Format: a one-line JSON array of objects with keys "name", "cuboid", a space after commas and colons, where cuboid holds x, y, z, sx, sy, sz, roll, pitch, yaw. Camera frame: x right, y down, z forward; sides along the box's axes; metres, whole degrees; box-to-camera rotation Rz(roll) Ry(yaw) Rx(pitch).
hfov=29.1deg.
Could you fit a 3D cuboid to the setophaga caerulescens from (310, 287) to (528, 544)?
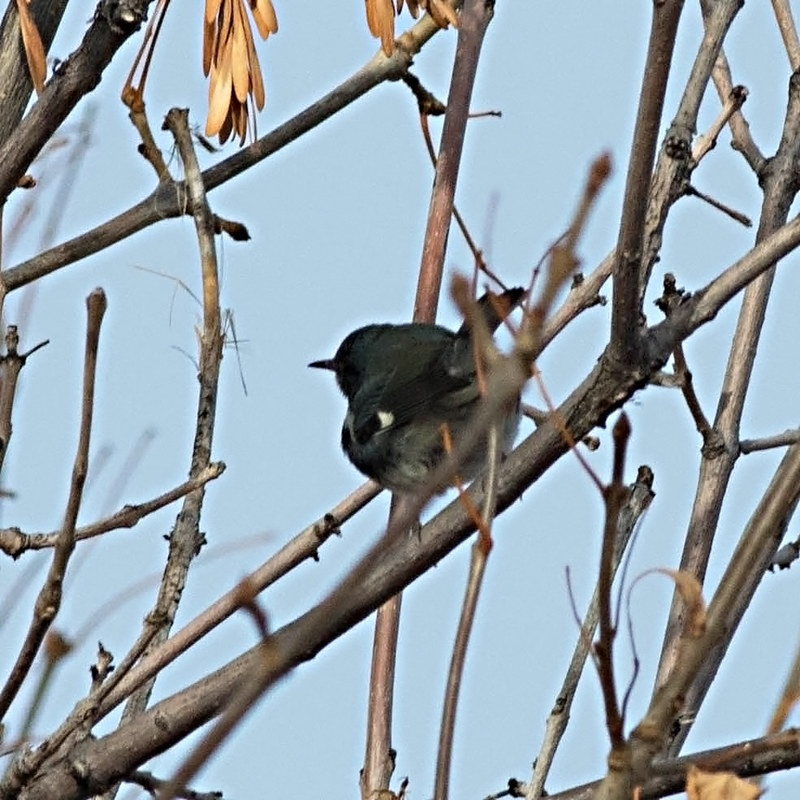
[{"name": "setophaga caerulescens", "cuboid": [0.125, 0.003, 5.233, 0.405, 0.763, 1.111, -1, -13, -42]}]
